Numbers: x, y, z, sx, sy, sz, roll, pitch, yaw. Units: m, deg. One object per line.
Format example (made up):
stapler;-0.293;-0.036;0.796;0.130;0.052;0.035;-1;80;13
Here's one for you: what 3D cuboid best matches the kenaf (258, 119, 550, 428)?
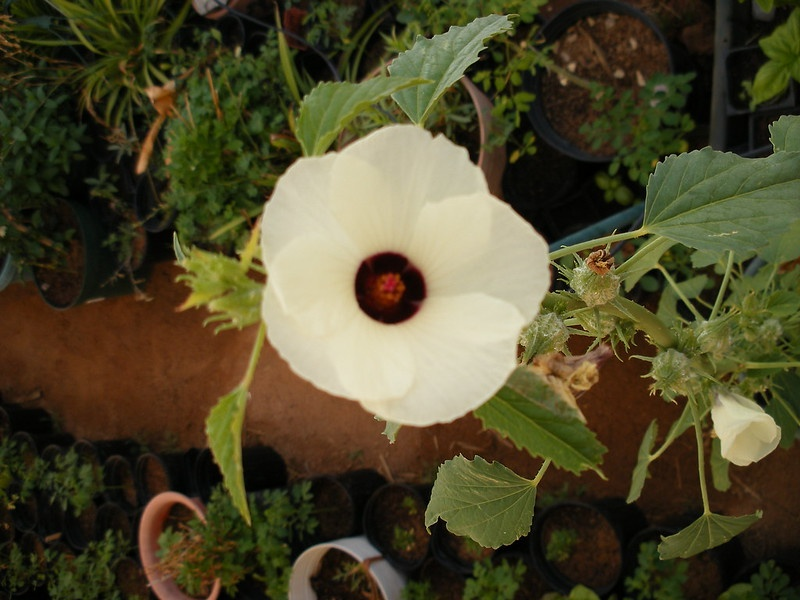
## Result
kenaf;-0.016;-0.087;2.324;0.898;0.209;0.847;28;84;3
